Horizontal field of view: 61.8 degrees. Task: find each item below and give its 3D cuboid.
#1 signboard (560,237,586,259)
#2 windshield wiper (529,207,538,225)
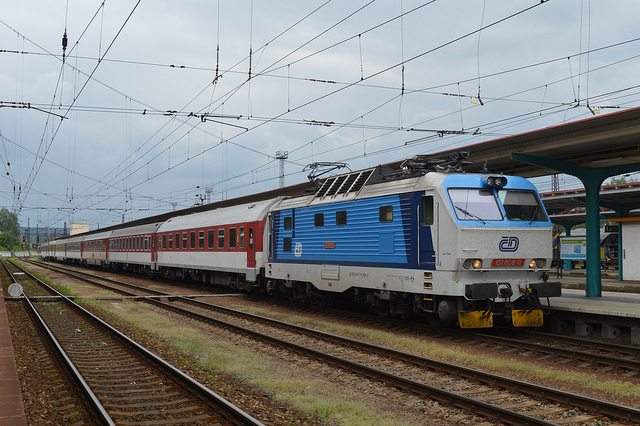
[{"bbox_3d":[22.743,3.291,48.071,0.329,1.763,2.890,-1,-2,-29],"label":"signboard"},{"bbox_3d":[6.507,0.145,16.387,0.100,0.642,0.099,35,-10,29],"label":"windshield wiper"}]
